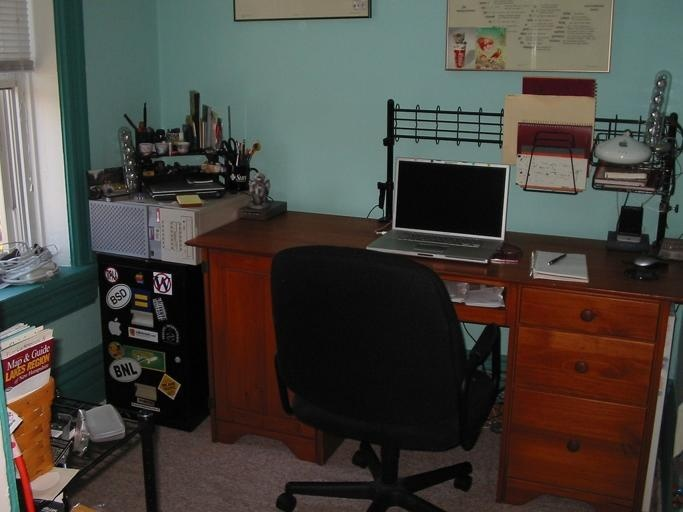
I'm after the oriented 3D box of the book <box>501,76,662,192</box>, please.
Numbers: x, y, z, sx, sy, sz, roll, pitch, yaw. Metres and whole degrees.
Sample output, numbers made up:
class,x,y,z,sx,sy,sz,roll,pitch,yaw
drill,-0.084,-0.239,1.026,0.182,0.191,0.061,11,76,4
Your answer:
class,x,y,z,sx,sy,sz,roll,pitch,yaw
book,0.914,-0.533,2.574,0.388,0.488,0.153,5,15,16

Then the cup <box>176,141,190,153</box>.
class,x,y,z,sx,sy,sz,roll,pitch,yaw
cup,-0.839,-0.569,3.059,0.057,0.054,0.059,1,6,0

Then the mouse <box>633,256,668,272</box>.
class,x,y,z,sx,sy,sz,roll,pitch,yaw
mouse,1.248,0.026,2.332,0.120,0.041,0.076,-3,23,-11

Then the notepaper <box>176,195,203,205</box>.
class,x,y,z,sx,sy,sz,roll,pitch,yaw
notepaper,-0.723,-0.266,2.758,0.074,0.018,0.071,-1,27,-13
